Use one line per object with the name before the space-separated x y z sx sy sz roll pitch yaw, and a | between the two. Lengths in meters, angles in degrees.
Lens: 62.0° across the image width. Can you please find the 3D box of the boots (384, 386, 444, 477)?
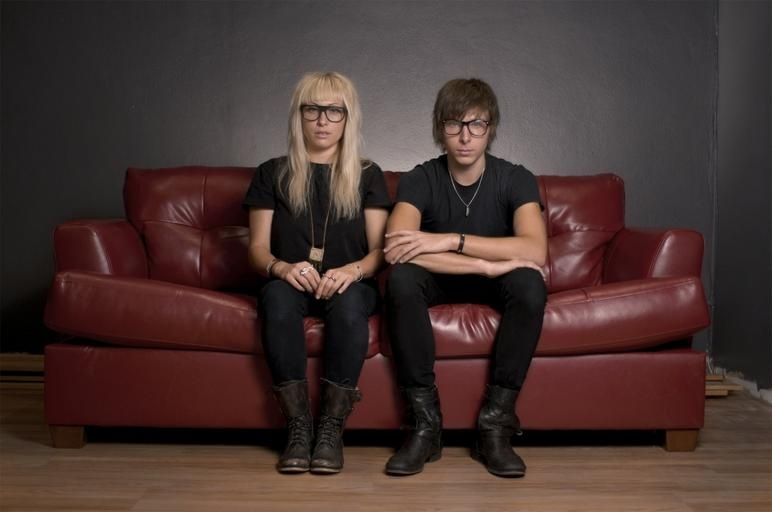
boots | 0.122 0.733 2.720 0.200 0.338 0.223 4 13 16

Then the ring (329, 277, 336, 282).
ring | -0.231 0.103 2.801 0.015 0.007 0.019 11 17 -31

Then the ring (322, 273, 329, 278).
ring | -0.265 0.086 2.826 0.018 0.017 0.011 3 -7 -19

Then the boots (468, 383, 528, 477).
boots | 0.490 0.735 2.739 0.232 0.332 0.230 2 13 8

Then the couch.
couch | -0.039 0.224 3.281 3.043 1.222 1.046 1 11 2

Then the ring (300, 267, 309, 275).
ring | -0.358 0.067 2.811 0.026 0.011 0.027 -1 18 0

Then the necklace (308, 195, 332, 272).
necklace | -0.296 -0.044 2.983 0.010 0.474 0.137 0 13 -23

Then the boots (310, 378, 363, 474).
boots | -0.211 0.718 2.700 0.207 0.363 0.182 0 13 -2

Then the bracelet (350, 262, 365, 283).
bracelet | -0.126 0.074 2.895 0.029 0.073 0.064 -9 -7 4

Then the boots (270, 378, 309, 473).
boots | -0.385 0.709 2.689 0.147 0.347 0.167 -3 13 -11
